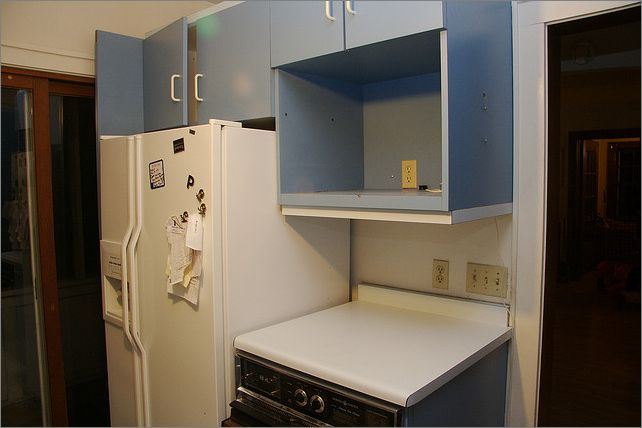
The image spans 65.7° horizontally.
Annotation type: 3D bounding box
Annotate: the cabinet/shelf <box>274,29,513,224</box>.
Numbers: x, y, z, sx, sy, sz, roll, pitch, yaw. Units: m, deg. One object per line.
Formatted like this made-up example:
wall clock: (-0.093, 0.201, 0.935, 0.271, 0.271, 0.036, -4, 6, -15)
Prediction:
cabinet/shelf: (0.370, -0.437, 2.529, 1.120, 0.869, 0.563, 2, 7, 28)

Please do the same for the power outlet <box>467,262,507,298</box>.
power outlet: (0.863, 0.338, 2.560, 0.174, 0.166, 0.025, 3, 2, 41)
